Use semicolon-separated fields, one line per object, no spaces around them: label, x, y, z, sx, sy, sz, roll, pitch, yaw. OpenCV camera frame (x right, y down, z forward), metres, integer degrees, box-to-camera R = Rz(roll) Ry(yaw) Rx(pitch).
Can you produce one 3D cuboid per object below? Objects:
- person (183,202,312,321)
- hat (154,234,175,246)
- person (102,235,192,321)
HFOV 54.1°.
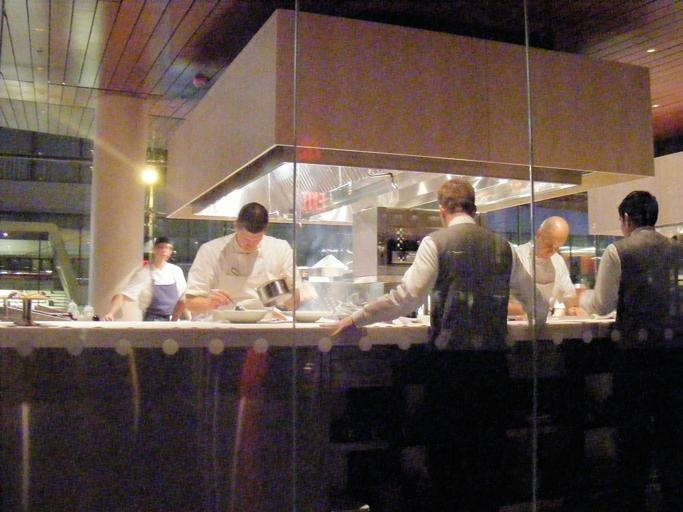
person;-0.457;0.042;3.305;0.527;0.861;0.475;-3;20;-19
hat;-1.041;-0.091;3.904;0.067;0.052;0.067;-9;-15;43
person;-1.261;0.153;4.279;0.500;0.770;0.231;4;-22;-16
